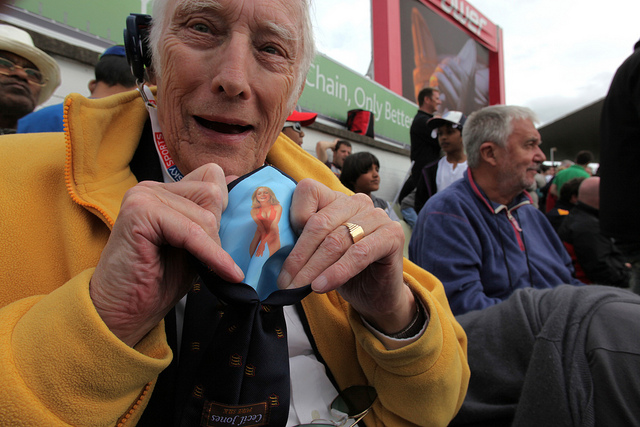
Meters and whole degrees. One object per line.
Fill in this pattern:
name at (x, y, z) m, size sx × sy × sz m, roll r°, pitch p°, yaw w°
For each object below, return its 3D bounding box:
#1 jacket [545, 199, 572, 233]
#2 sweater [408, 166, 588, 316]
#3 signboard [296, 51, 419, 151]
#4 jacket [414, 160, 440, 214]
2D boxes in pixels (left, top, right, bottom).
jacket at (3.063, 0.029, 5.914) m, size 0.123 × 0.295 × 0.301 m, roll 39°, pitch 17°, yaw -13°
sweater at (1.756, 0.241, 3.860) m, size 0.985 × 1.239 × 2.128 m, roll 0°, pitch 0°, yaw -9°
signboard at (0.852, -1.966, 8.486) m, size 0.026 × 0.975 × 3.560 m, roll 6°, pitch 0°, yaw 40°
jacket at (1.428, -0.347, 6.122) m, size 0.290 × 0.626 × 0.417 m, roll 12°, pitch 12°, yaw 0°
